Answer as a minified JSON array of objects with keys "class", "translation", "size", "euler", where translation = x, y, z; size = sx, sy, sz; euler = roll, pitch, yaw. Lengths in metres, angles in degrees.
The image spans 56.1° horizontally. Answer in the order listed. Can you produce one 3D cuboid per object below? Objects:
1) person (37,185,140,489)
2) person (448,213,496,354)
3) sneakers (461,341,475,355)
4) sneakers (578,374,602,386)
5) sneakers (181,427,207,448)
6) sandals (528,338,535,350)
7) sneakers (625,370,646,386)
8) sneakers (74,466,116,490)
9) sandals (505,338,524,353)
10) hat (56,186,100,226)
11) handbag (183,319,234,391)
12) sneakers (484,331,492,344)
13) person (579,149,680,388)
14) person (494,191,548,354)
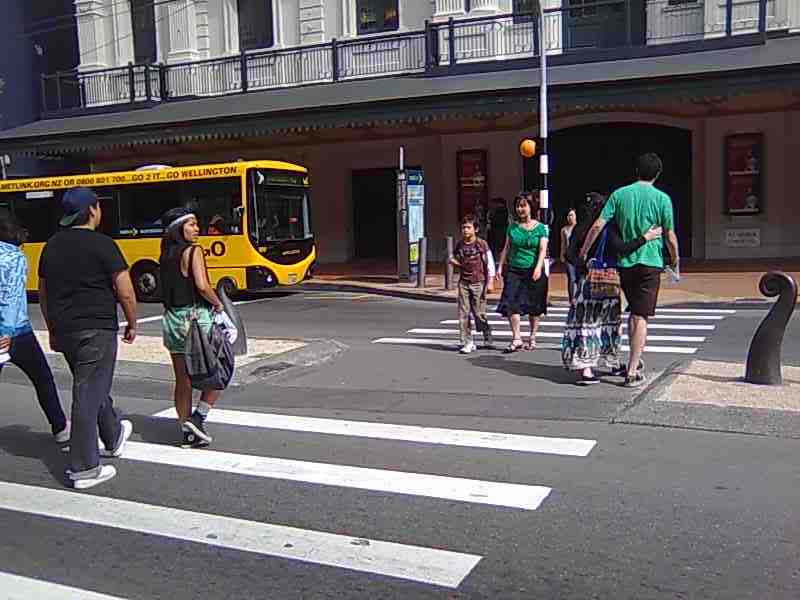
[{"class":"person","translation":[-2.563,0.278,6.236],"size":[0.690,2.402,0.642],"euler":[-5,8,-30]},{"class":"person","translation":[1.068,-0.260,10.792],"size":[0.601,1.933,1.093],"euler":[-1,7,6]},{"class":"sneakers","translation":[0.974,0.677,10.577],"size":[0.093,0.143,0.270],"euler":[-1,-4,31]},{"class":"sneakers","translation":[2.136,0.891,8.427],"size":[0.230,0.118,0.103],"euler":[-9,11,-33]},{"class":"sneakers","translation":[-1.889,1.262,6.946],"size":[0.268,0.228,0.114],"euler":[-1,6,-13]},{"class":"sandals","translation":[1.847,0.618,10.548],"size":[0.120,0.180,0.404],"euler":[-1,-3,10]},{"class":"sneakers","translation":[2.611,0.861,8.304],"size":[0.107,0.144,0.271],"euler":[6,11,38]},{"class":"sneakers","translation":[-2.486,1.449,6.160],"size":[0.118,0.150,0.309],"euler":[18,25,36]},{"class":"sandals","translation":[1.607,0.633,10.482],"size":[0.115,0.161,0.329],"euler":[-2,-2,35]},{"class":"hat","translation":[-2.652,-0.770,6.205],"size":[0.269,0.322,0.426],"euler":[-5,9,-25]},{"class":"handbag","translation":[-1.799,0.478,6.730],"size":[0.305,0.719,0.449],"euler":[-5,9,-14]},{"class":"sneakers","translation":[1.247,0.540,10.652],"size":[0.074,0.264,0.094],"euler":[-3,-6,4]},{"class":"person","translation":[2.500,-0.325,8.317],"size":[1.008,2.578,0.765],"euler":[0,-5,32]},{"class":"person","translation":[1.684,-0.393,10.195],"size":[0.582,2.105,0.638],"euler":[2,0,-7]}]
